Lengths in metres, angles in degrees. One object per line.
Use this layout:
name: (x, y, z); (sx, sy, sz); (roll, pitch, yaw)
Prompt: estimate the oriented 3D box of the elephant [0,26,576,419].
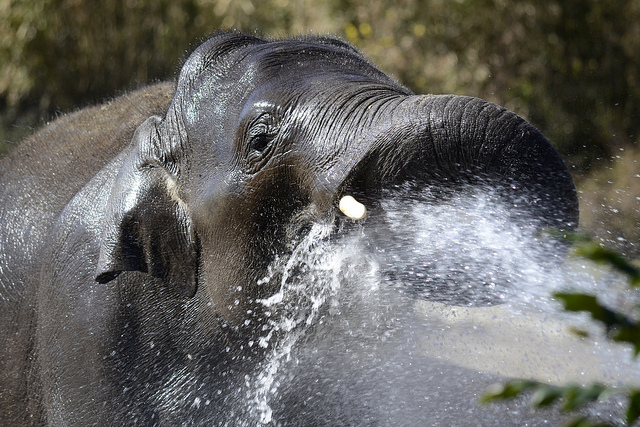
elephant: (-0.336, 0.038, 4.068); (2.357, 1.349, 1.405); (-10, 62, -3)
